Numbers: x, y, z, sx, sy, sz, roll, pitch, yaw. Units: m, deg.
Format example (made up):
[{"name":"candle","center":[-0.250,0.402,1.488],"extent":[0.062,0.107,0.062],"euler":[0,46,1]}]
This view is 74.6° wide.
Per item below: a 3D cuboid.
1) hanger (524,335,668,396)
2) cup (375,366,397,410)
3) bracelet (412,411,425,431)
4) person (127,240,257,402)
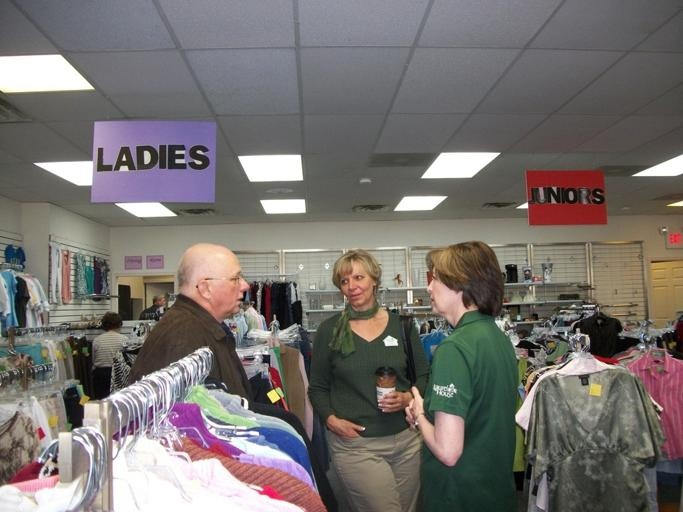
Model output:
[{"name":"hanger","center":[1.700,0.734,3.029],"extent":[1.018,0.385,0.601],"euler":[0,-5,-35]},{"name":"cup","center":[0.251,0.722,2.467],"extent":[0.131,0.216,0.137],"euler":[0,-16,0]},{"name":"bracelet","center":[0.324,0.709,1.926],"extent":[0.035,0.086,0.062],"euler":[-7,-35,-10]},{"name":"person","center":[-0.721,0.360,2.131],"extent":[0.534,0.796,1.000],"euler":[1,-8,-11]}]
